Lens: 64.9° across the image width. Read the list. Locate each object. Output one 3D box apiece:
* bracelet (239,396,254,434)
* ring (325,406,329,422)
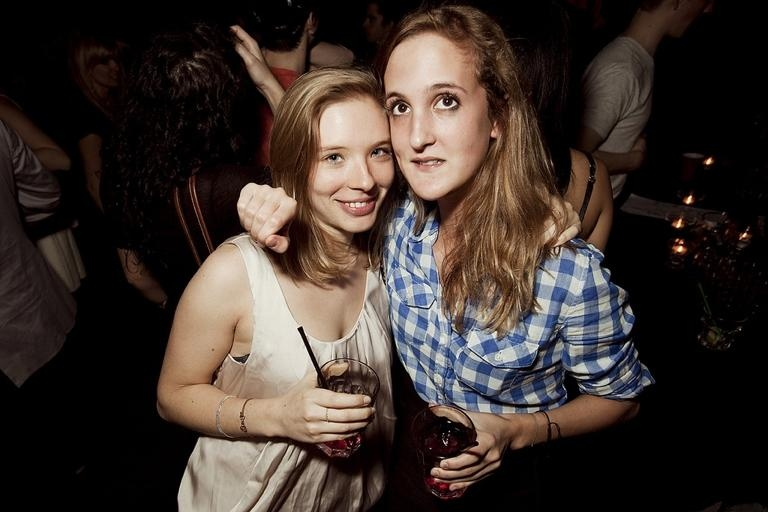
[{"bbox_3d":[-0.806,0.927,3.497,0.054,0.151,0.118,3,29,5],"label":"bracelet"},{"bbox_3d":[-0.320,0.887,3.364,0.015,0.049,0.049,8,-14,-14],"label":"ring"}]
